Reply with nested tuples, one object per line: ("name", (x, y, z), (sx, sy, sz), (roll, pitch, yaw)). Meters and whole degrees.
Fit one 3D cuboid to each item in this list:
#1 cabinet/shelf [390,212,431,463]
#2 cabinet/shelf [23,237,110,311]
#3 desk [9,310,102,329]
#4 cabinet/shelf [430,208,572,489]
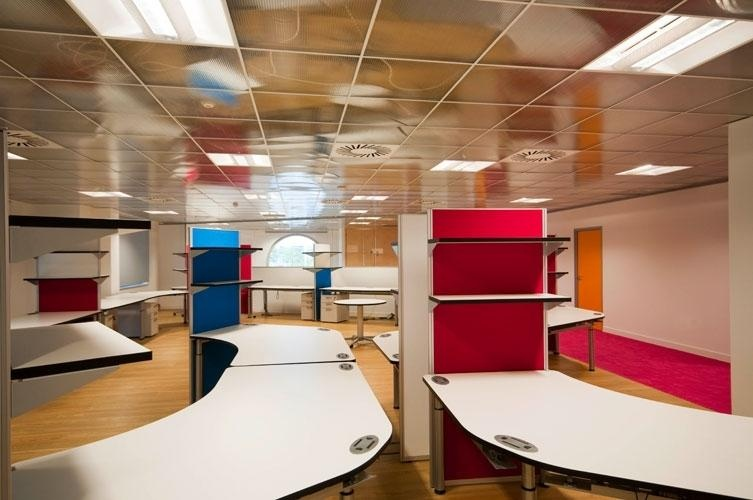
("cabinet/shelf", (0.405, 0.893, 5.196), (0.382, 2.530, 0.159), (-3, -3, 0))
("cabinet/shelf", (-4.460, 0.433, 7.467), (1.488, 0.990, 0.412), (-3, -10, 16))
("desk", (-3.802, 0.835, 6.145), (0.710, 0.163, 0.856), (1, 0, -20))
("cabinet/shelf", (1.175, 0.489, 4.898), (1.350, 2.109, 0.680), (6, 36, 14))
